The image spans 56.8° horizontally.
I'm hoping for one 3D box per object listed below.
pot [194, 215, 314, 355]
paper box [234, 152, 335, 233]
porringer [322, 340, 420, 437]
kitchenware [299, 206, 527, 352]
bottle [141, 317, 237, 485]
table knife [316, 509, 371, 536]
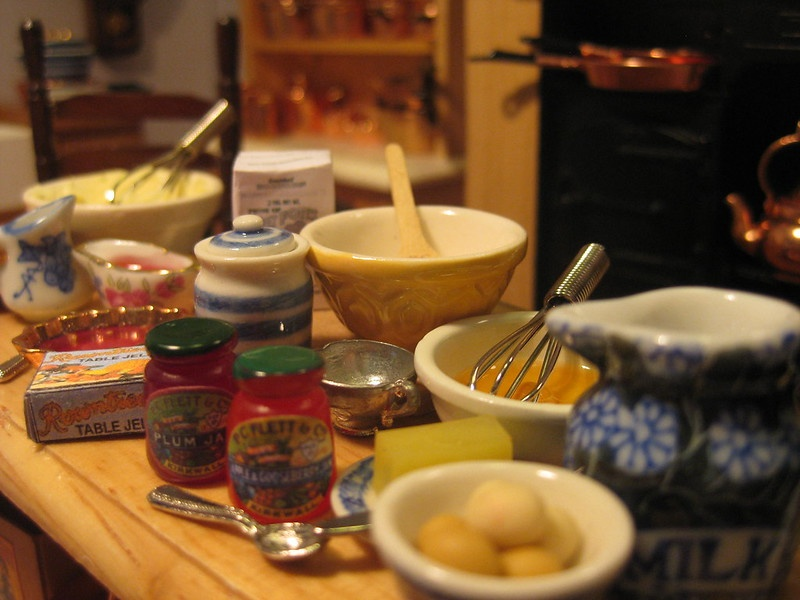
[{"bbox_3d":[-0.159,-0.002,0.814,0.126,0.136,0.068,-5,29,-10],"label":"pot"},{"bbox_3d":[-0.164,-0.156,1.052,0.127,0.110,0.118,-2,19,-7],"label":"paper box"},{"bbox_3d":[-0.039,0.085,0.767,0.107,0.049,0.080,15,24,38],"label":"porringer"},{"bbox_3d":[0.022,-0.034,0.863,0.217,0.106,0.218,14,26,40],"label":"kitchenware"},{"bbox_3d":[-0.197,0.099,0.708,0.091,0.139,0.088,0,28,0],"label":"bottle"},{"bbox_3d":[-0.044,0.183,0.601,0.085,0.016,0.012,-14,-6,41],"label":"table knife"}]
